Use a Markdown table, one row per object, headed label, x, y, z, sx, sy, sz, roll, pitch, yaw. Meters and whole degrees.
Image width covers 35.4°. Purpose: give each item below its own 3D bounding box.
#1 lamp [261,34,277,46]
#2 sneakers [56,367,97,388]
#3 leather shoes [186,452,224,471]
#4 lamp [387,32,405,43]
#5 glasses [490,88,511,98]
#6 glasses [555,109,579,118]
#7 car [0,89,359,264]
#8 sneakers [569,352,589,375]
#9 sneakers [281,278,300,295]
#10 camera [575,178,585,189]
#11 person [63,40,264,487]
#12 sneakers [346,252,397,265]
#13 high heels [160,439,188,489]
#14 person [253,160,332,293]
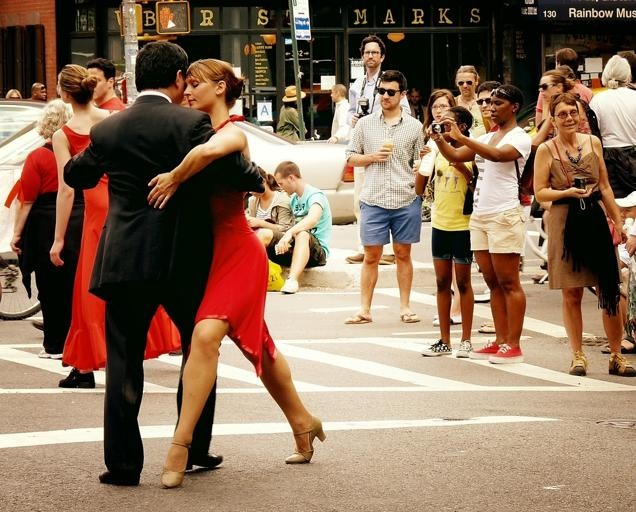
| label | x | y | z | sx | sy | sz | roll | pitch | yaw |
| --- | --- | --- | --- | --- | --- | --- | --- | --- | --- |
| lamp | -1.199 | -5.313 | 24.496 | 0.283 | 0.175 | 0.265 | -9 | 23 | -9 |
| sneakers | -1.812 | 0.906 | 7.506 | 0.281 | 0.134 | 0.132 | 2 | -3 | 6 |
| leather shoes | -0.623 | 1.115 | 5.533 | 0.219 | 0.083 | 0.076 | -8 | 28 | -23 |
| lamp | 1.919 | -5.431 | 24.765 | 0.313 | 0.194 | 0.297 | 3 | 4 | 15 |
| glasses | 1.517 | -1.357 | 8.308 | 0.088 | 0.047 | 0.108 | 13 | -3 | 4 |
| glasses | 2.022 | -1.146 | 8.106 | 0.182 | 0.075 | 0.067 | -2 | 7 | -19 |
| car | -1.676 | -1.351 | 14.544 | 4.428 | 1.211 | 1.893 | 1 | -2 | -8 |
| sneakers | 2.106 | 0.856 | 8.128 | 0.096 | 0.102 | 0.244 | 1 | 8 | 8 |
| sneakers | -0.344 | 0.355 | 11.904 | 0.224 | 0.168 | 0.422 | -1 | 0 | 6 |
| camera | 2.111 | -0.594 | 8.076 | 0.058 | 0.087 | 0.099 | -3 | 2 | -31 |
| person | -0.870 | 0.015 | 5.323 | 0.903 | 2.302 | 0.520 | -2 | 8 | -14 |
| sneakers | 0.662 | 0.034 | 12.659 | 0.621 | 0.233 | 0.197 | 3 | -3 | 2 |
| high heels | -0.734 | 1.070 | 5.134 | 0.104 | 0.276 | 0.124 | 7 | -6 | 1 |
| person | -0.475 | -0.395 | 12.224 | 1.185 | 1.436 | 1.282 | 0 | 8 | 24 |
